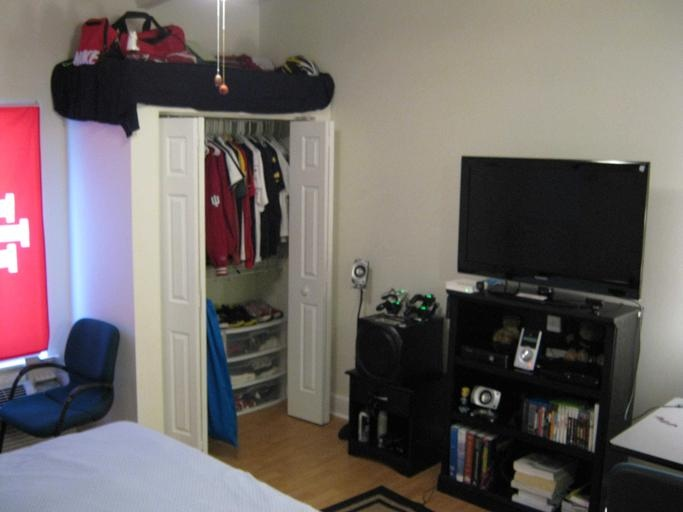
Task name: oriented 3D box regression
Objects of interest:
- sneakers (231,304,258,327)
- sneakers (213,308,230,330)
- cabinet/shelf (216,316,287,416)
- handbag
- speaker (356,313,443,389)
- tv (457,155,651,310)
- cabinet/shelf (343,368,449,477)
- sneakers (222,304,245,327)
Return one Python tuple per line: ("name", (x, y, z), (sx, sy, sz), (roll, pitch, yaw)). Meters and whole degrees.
("sneakers", (-0.927, 0.557, 5.323), (0.102, 0.147, 0.299), (-6, 7, -41))
("sneakers", (-1.122, 0.569, 5.201), (0.094, 0.129, 0.281), (-3, 7, -36))
("cabinet/shelf", (-0.744, 1.111, 5.500), (0.740, 0.753, 0.566), (-11, -23, 10))
("handbag", (-1.549, -1.652, 4.437), (0.906, 0.474, 0.619), (-1, 14, -24))
("speaker", (0.456, 0.679, 4.474), (0.509, 0.416, 0.528), (-6, 12, -43))
("tv", (1.428, -0.168, 3.727), (0.936, 0.712, 0.071), (10, 16, 37))
("cabinet/shelf", (0.419, 1.295, 4.615), (0.636, 0.688, 0.586), (5, 5, 36))
("sneakers", (-1.031, 0.556, 5.313), (0.221, 0.095, 0.126), (3, 5, 44))
